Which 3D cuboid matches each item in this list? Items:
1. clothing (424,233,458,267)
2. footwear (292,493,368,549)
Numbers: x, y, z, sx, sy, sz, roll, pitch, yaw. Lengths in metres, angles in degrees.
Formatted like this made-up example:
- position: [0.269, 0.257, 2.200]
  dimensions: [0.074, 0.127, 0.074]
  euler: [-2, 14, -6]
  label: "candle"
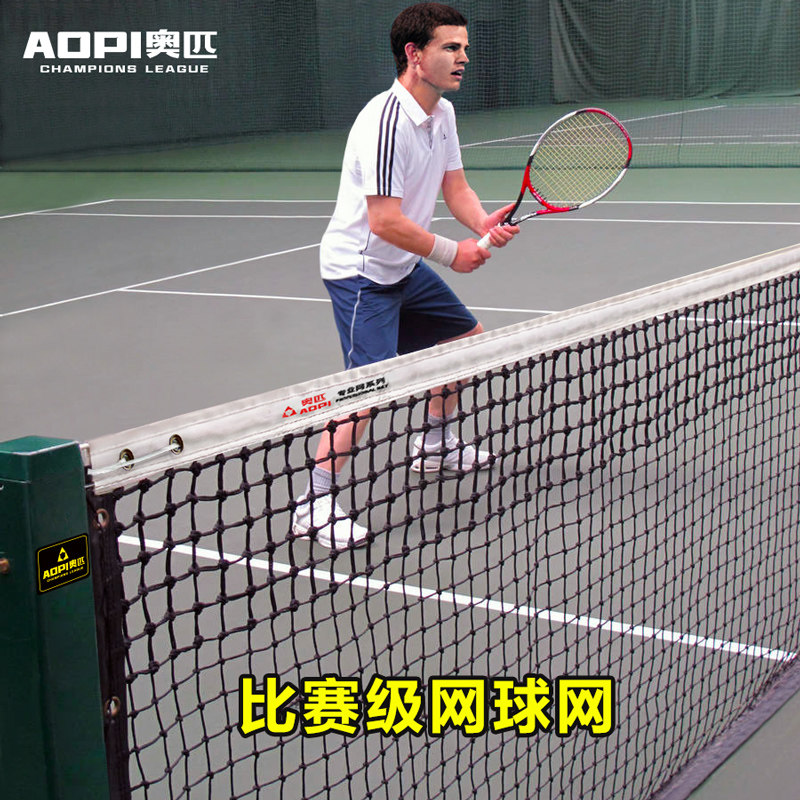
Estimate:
- position: [0.136, -0.511, 2.938]
  dimensions: [0.086, 0.102, 0.117]
  euler: [7, 0, 6]
  label: "clothing"
- position: [-0.242, 0.410, 2.859]
  dimensions: [0.304, 0.150, 0.133]
  euler: [9, 6, 36]
  label: "footwear"
